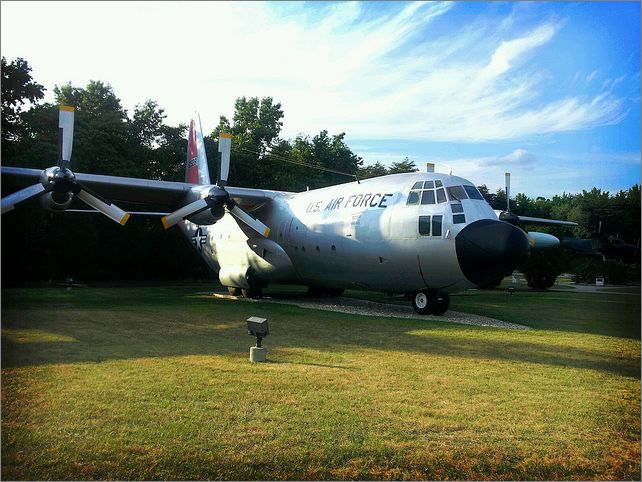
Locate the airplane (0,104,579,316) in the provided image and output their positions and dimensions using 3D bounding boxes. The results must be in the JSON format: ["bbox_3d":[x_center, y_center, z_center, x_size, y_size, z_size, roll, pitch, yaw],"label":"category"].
[{"bbox_3d":[-0.979,-0.674,17.330,14.654,6.346,8.826,2,2,4],"label":"airplane"}]
